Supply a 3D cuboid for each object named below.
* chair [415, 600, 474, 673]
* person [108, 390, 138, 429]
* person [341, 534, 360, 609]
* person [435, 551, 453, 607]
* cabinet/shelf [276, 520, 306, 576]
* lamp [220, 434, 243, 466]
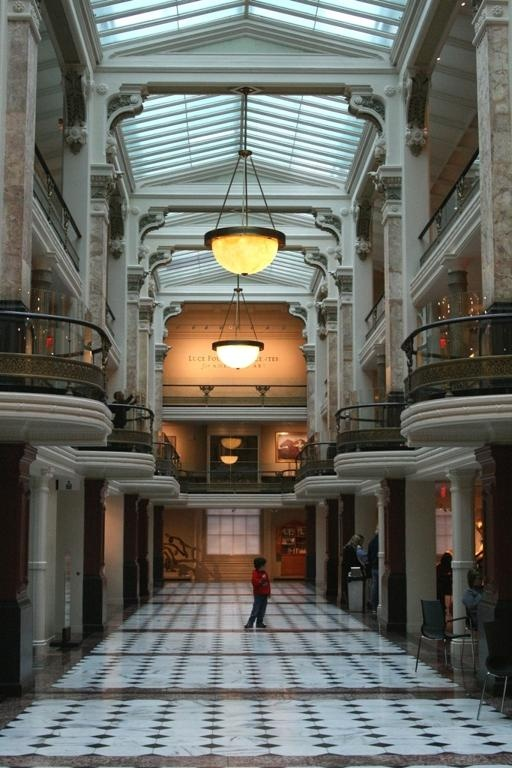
[{"bbox_3d":[2.409,3.140,9.444,0.609,0.818,0.584,4,-15,-16],"label":"chair"},{"bbox_3d":[-2.525,0.513,14.019,0.348,0.739,0.757,-1,-10,3],"label":"person"},{"bbox_3d":[2.669,4.905,20.334,0.655,1.969,0.517,-2,34,11],"label":"person"},{"bbox_3d":[3.955,4.038,15.612,0.299,0.863,2.233,-3,-10,14],"label":"person"},{"bbox_3d":[1.568,7.554,34.010,1.284,2.519,0.569,1,-10,-6],"label":"cabinet/shelf"},{"bbox_3d":[-1.258,3.414,37.159,1.254,1.736,1.177,-1,-14,12],"label":"lamp"}]
